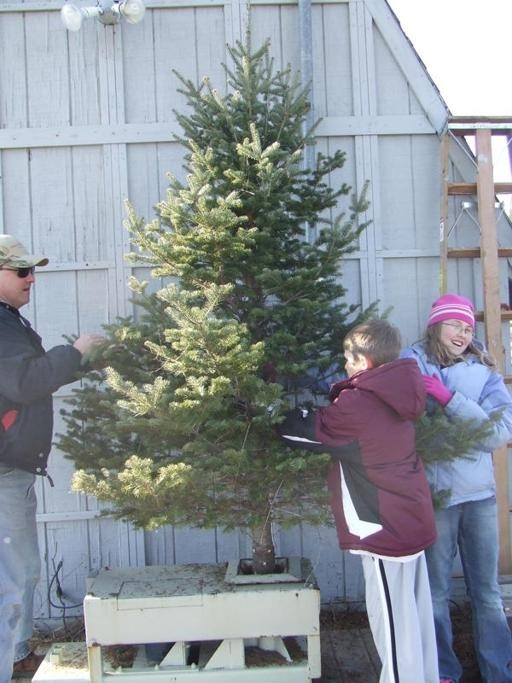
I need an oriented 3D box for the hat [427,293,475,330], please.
[{"bbox_3d":[0.994,-0.152,5.686,0.204,0.137,0.189,1,-3,-15],"label":"hat"}]
